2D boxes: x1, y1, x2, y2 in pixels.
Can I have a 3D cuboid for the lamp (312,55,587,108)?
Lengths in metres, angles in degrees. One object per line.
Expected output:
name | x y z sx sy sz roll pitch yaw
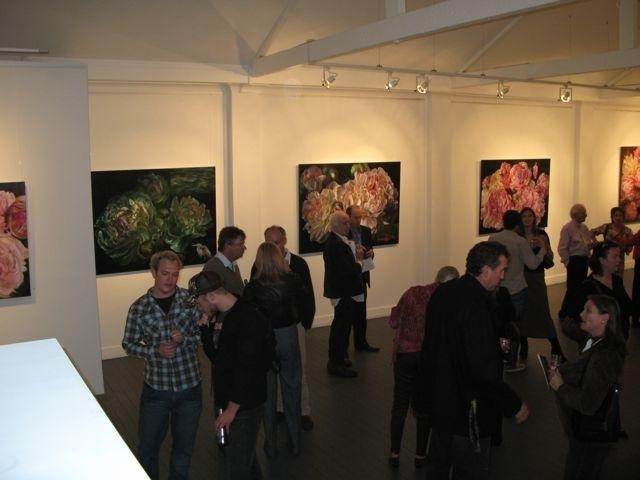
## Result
lamp | 1.907 -2.483 8.015 4.807 0.639 2.416 -5 11 -19

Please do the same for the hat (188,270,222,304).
hat | -0.803 0.313 3.532 0.226 0.215 0.182 -4 9 -18

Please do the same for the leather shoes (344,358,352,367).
leather shoes | 0.374 1.613 6.611 0.108 0.043 0.109 3 10 -18

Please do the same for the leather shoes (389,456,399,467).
leather shoes | 0.659 1.970 4.440 0.049 0.050 0.111 1 6 0

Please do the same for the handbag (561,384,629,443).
handbag | 1.905 1.179 3.456 0.396 0.411 0.193 -3 8 -8

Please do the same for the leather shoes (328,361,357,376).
leather shoes | 0.268 1.625 6.354 0.397 0.183 0.148 0 7 9

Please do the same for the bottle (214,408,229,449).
bottle | -0.678 1.294 3.542 0.084 0.085 0.316 25 35 -24
